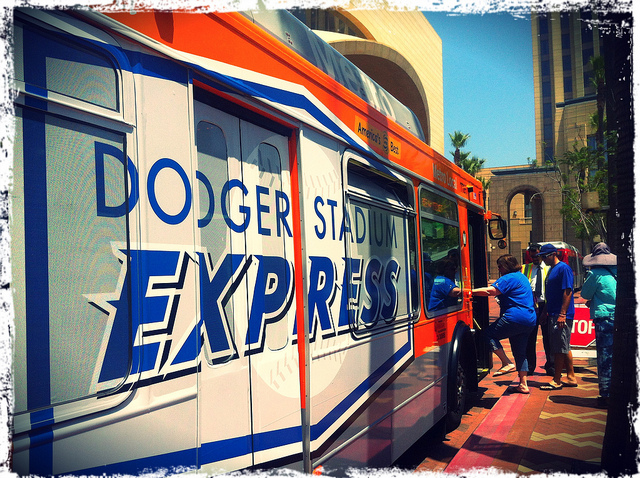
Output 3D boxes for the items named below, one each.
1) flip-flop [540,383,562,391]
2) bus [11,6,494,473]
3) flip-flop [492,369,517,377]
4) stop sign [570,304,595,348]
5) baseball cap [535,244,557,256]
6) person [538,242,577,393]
[{"bbox_3d":[3.140,1.993,9.020,0.274,0.100,0.112,1,-8,1],"label":"flip-flop"},{"bbox_3d":[-0.594,0.483,5.593,1.573,2.592,5.203,-10,-16,27],"label":"bus"},{"bbox_3d":[2.685,1.935,9.725,0.356,0.115,0.149,-7,-8,2],"label":"flip-flop"},{"bbox_3d":[4.170,1.368,10.589,0.358,0.670,0.557,-4,-1,20],"label":"stop sign"},{"bbox_3d":[3.173,0.137,9.262,0.168,0.110,0.131,-13,-4,15],"label":"baseball cap"},{"bbox_3d":[3.344,1.056,9.378,0.485,1.954,1.562,-4,-1,21],"label":"person"}]
